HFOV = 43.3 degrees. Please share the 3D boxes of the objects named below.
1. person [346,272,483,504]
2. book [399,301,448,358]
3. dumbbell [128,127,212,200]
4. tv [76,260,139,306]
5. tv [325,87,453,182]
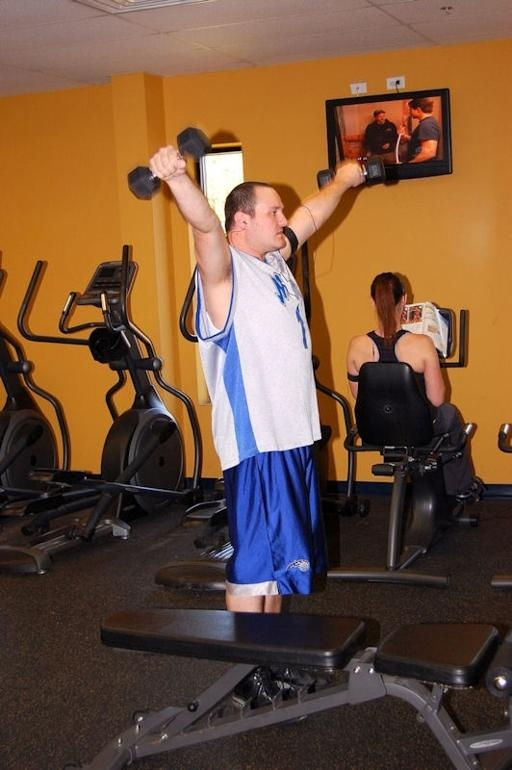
[{"bbox_3d":[0.756,0.044,2.875,0.665,1.084,0.575,-3,2,-7],"label":"person"},{"bbox_3d":[0.692,-0.235,2.951,0.247,0.254,0.194,-8,-8,-44],"label":"book"},{"bbox_3d":[-0.174,-0.456,1.293,0.159,0.109,0.234,-3,2,-7],"label":"dumbbell"},{"bbox_3d":[-0.827,-0.565,3.591,0.244,0.098,0.335,2,57,24],"label":"tv"},{"bbox_3d":[0.778,-1.463,3.823,0.725,0.500,0.065,-2,3,8],"label":"tv"}]
